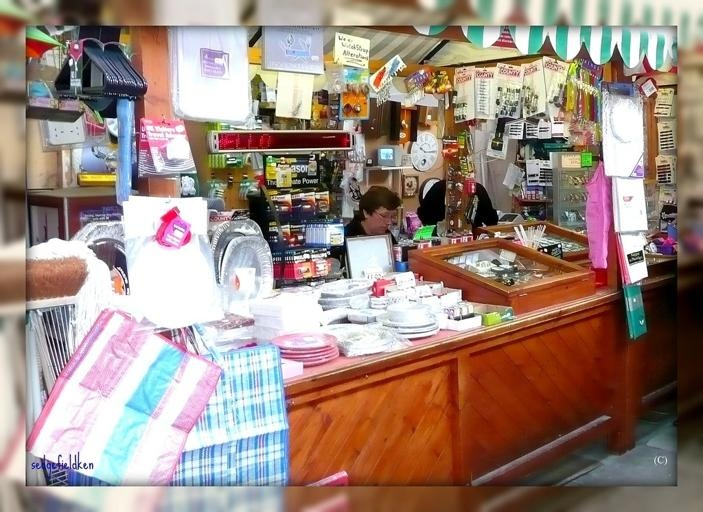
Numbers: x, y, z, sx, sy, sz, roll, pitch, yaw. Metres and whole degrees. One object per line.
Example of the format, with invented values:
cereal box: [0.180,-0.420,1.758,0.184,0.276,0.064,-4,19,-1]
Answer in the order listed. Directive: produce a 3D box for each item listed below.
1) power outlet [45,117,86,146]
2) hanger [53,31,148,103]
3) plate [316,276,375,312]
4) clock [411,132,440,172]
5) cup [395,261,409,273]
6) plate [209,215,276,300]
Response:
power outlet: [-1.530,-0.658,2.839,0.043,0.137,0.139,7,10,37]
hanger: [-1.138,-0.815,2.429,0.378,0.287,0.296,6,7,39]
plate: [-0.039,0.253,3.551,0.394,0.158,0.360,5,-1,-16]
clock: [0.748,-1.080,5.580,0.029,0.349,0.348,9,-4,41]
cup: [0.388,0.090,4.138,0.074,0.062,0.077,-2,4,0]
plate: [-0.632,0.015,3.180,0.085,0.442,0.425,3,10,41]
